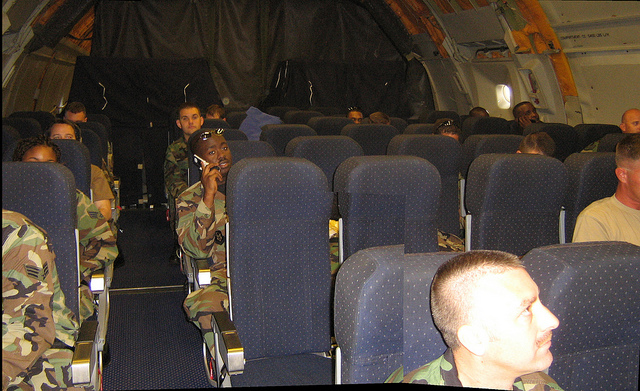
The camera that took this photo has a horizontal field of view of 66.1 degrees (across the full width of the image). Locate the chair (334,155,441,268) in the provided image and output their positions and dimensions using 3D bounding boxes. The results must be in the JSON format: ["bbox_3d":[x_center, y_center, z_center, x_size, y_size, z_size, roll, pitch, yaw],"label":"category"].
[{"bbox_3d":[0.449,0.094,3.312,0.746,1.095,0.377,-4,22,-3],"label":"chair"}]

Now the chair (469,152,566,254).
[{"bbox_3d":[1.564,-0.007,4.250,0.820,1.014,0.888,-2,12,2],"label":"chair"}]

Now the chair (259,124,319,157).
[{"bbox_3d":[-0.362,-0.683,5.468,0.476,0.545,0.466,2,-4,-16],"label":"chair"}]

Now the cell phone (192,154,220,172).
[{"bbox_3d":[-1.031,-0.293,4.263,0.150,0.052,0.185,29,-3,2],"label":"cell phone"}]

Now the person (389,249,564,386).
[{"bbox_3d":[0.827,0.376,2.497,0.603,0.620,1.025,3,4,18],"label":"person"}]

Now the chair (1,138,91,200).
[{"bbox_3d":[-2.323,-0.310,4.314,0.659,0.656,0.572,-2,11,-28],"label":"chair"}]

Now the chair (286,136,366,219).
[{"bbox_3d":[0.062,-0.158,4.076,0.722,0.901,0.712,-2,10,-4],"label":"chair"}]
